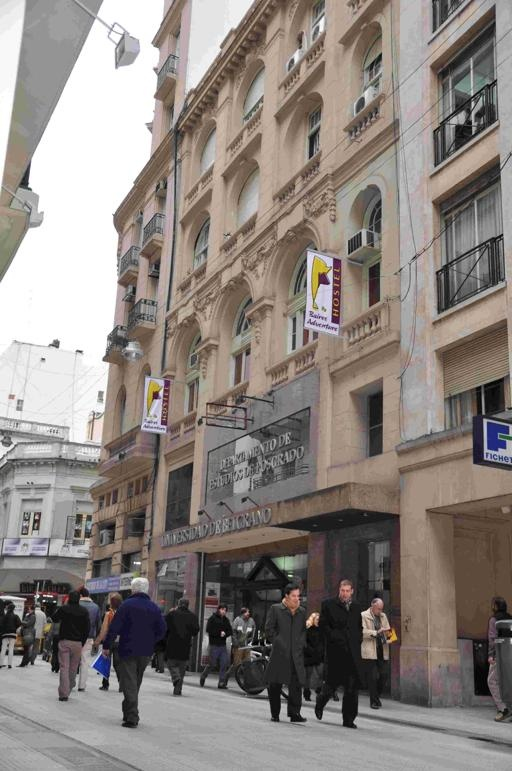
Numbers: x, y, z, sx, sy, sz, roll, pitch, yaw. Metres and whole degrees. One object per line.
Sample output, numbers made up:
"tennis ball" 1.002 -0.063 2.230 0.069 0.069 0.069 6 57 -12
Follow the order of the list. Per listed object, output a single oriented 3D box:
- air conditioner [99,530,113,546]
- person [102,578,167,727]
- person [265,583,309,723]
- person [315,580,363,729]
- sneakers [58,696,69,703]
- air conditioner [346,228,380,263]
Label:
"air conditioner" -7.920 8.062 33.146 0.362 0.889 1.462 11 -19 -28
"person" -1.315 2.877 6.737 0.527 1.493 0.453 22 -35 -38
"person" 0.335 3.065 7.162 0.459 1.480 0.473 1 -16 4
"person" 0.895 2.951 6.981 0.546 1.502 0.402 -9 -23 32
"sneakers" -2.634 4.297 8.578 0.074 0.093 0.201 15 -27 -38
"air conditioner" 2.848 -3.720 16.621 0.677 0.719 1.017 6 -17 -11
